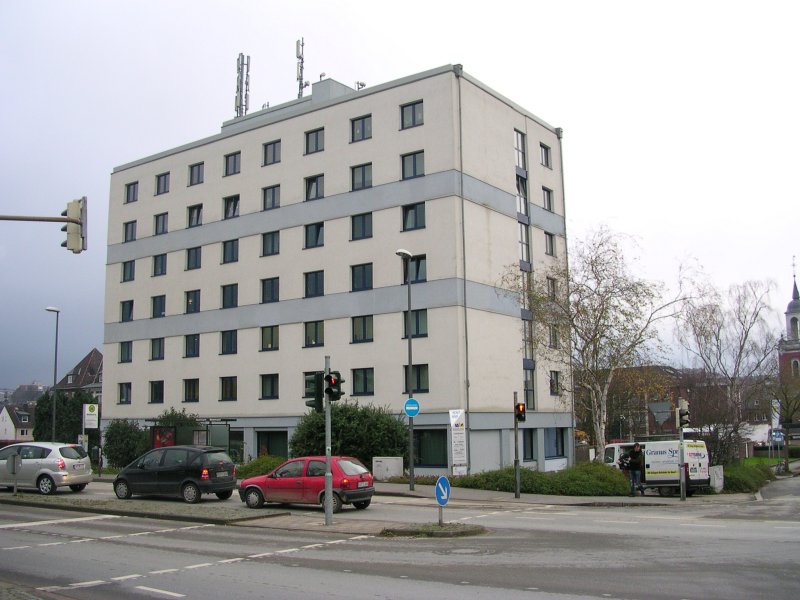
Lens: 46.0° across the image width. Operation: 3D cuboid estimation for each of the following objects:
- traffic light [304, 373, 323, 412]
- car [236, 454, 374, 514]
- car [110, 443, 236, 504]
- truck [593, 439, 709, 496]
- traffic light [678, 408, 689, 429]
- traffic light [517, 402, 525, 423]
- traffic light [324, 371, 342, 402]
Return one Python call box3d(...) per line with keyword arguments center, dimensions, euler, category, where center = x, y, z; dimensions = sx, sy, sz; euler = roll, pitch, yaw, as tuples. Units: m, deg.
box3d(center=(-2.652, 2.833, 29.863), dimensions=(0.563, 1.389, 1.042), euler=(1, -16, -4), category="traffic light")
box3d(center=(-3.147, 6.421, 32.825), dimensions=(4.070, 1.904, 1.982), euler=(-8, -17, 21), category="car")
box3d(center=(-8.057, 6.314, 34.817), dimensions=(3.409, 1.719, 2.194), euler=(0, -8, 19), category="car")
box3d(center=(10.866, 6.792, 40.160), dimensions=(4.241, 2.367, 2.684), euler=(-4, -8, 39), category="truck")
box3d(center=(11.199, 4.630, 37.187), dimensions=(0.366, 0.664, 0.808), euler=(-5, -17, 15), category="traffic light")
box3d(center=(4.790, 4.407, 37.527), dimensions=(0.336, 0.751, 0.491), euler=(-5, -16, 15), category="traffic light")
box3d(center=(-2.094, 2.691, 30.001), dimensions=(0.522, 1.017, 0.978), euler=(0, -16, -4), category="traffic light")
